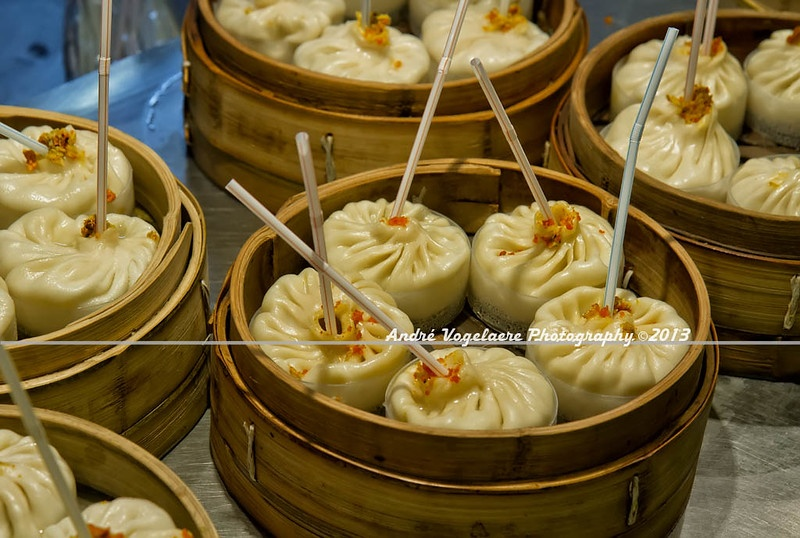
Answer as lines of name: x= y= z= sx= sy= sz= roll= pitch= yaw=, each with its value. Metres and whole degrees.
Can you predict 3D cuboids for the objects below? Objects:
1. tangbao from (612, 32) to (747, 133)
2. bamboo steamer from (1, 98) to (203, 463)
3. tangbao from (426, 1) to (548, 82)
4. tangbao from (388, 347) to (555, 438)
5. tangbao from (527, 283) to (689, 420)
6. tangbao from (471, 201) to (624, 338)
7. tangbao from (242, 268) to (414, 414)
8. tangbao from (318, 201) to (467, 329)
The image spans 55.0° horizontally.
tangbao: x=1.070 y=-0.654 z=3.032 sx=0.407 sy=0.285 sz=0.412 roll=-26 pitch=46 yaw=-24
bamboo steamer: x=-0.911 y=0.102 z=2.520 sx=0.761 sy=0.529 sz=0.871 roll=-18 pitch=62 yaw=-22
tangbao: x=0.341 y=-0.931 z=3.087 sx=0.463 sy=0.163 sz=0.471 roll=-21 pitch=39 yaw=-26
tangbao: x=0.198 y=0.345 z=2.079 sx=0.270 sy=0.130 sz=0.284 roll=17 pitch=28 yaw=29
tangbao: x=0.574 y=0.227 z=2.157 sx=0.378 sy=0.173 sz=0.397 roll=19 pitch=46 yaw=29
tangbao: x=0.465 y=-0.050 z=2.406 sx=0.421 sy=0.304 sz=0.403 roll=-29 pitch=43 yaw=-25
tangbao: x=-0.185 y=0.110 z=2.113 sx=0.379 sy=0.141 sz=0.387 roll=-23 pitch=60 yaw=-40
tangbao: x=-0.023 y=-0.010 z=2.378 sx=0.397 sy=0.255 sz=0.414 roll=26 pitch=41 yaw=11
